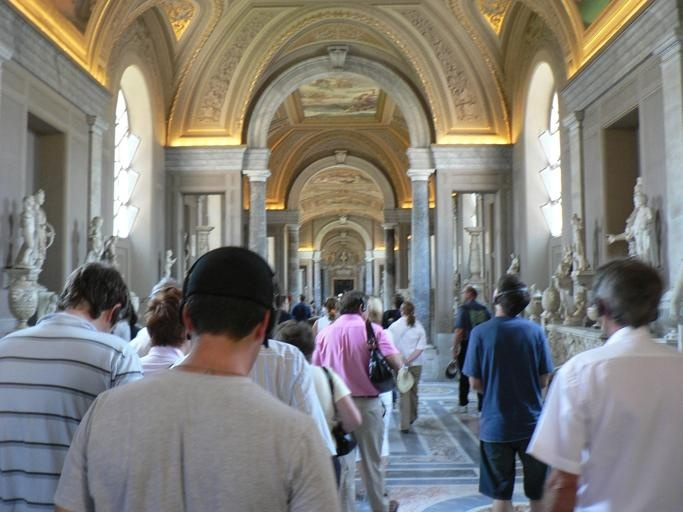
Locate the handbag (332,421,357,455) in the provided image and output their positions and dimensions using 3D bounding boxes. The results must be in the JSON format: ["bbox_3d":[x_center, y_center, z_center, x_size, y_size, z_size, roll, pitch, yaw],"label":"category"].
[{"bbox_3d":[-0.006,1.027,3.782,0.066,0.141,0.200,14,-30,34],"label":"handbag"}]

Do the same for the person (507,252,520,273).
[{"bbox_3d":[3.321,0.140,12.797,0.254,0.493,1.176,-1,-7,14],"label":"person"}]

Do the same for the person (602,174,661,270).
[{"bbox_3d":[3.380,-0.210,7.483,0.396,1.228,0.388,6,-20,-9],"label":"person"}]

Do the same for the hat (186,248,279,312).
[{"bbox_3d":[-0.356,0.064,2.092,0.219,0.142,0.226,10,5,-2],"label":"hat"}]
